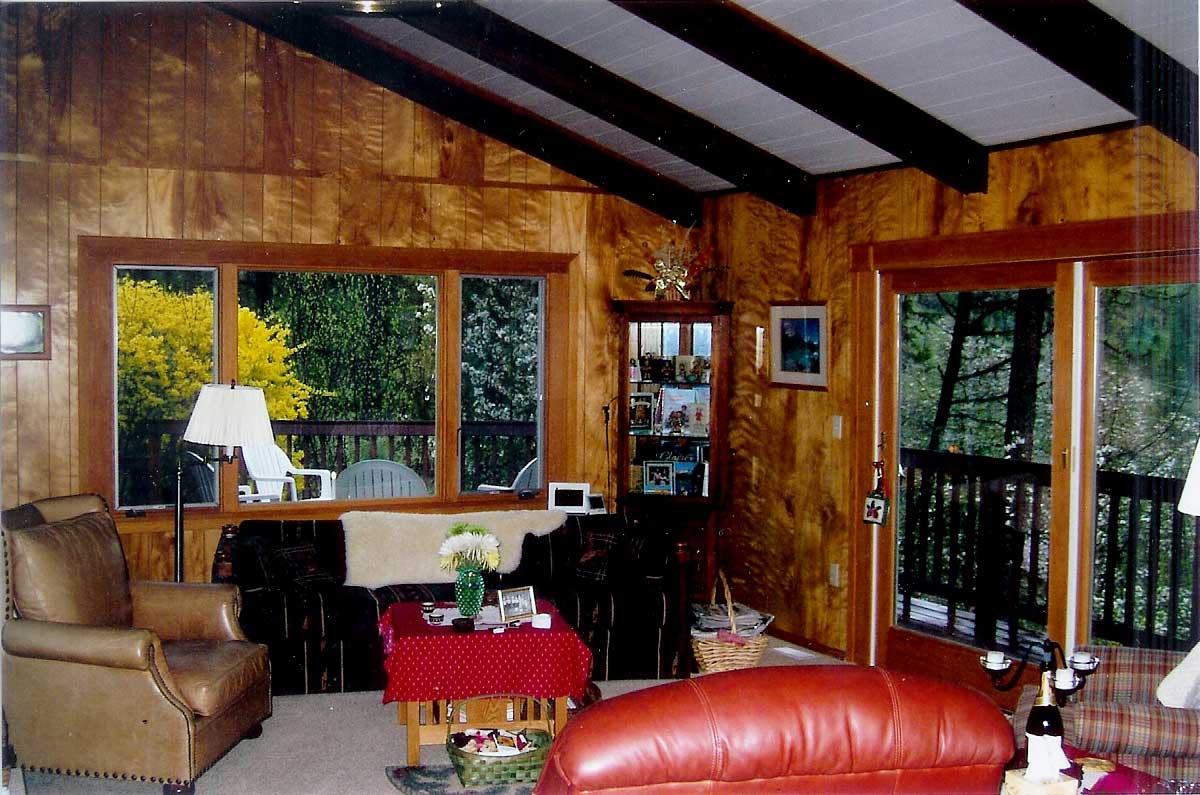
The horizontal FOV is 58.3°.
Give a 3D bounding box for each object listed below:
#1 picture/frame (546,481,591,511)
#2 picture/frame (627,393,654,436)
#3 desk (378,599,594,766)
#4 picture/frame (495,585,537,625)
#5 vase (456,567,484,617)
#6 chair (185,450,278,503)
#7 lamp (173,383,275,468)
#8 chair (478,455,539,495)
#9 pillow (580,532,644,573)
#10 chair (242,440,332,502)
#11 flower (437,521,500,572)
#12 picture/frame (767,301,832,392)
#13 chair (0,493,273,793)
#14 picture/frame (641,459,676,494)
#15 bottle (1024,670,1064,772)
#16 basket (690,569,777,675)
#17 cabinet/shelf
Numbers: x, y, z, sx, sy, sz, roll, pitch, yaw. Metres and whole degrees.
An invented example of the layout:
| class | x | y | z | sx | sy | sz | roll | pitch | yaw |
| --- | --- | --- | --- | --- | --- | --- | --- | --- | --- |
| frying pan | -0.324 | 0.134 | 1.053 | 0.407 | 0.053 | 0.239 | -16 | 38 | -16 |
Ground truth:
| class | x | y | z | sx | sy | sz | roll | pitch | yaw |
| --- | --- | --- | --- | --- | --- | --- | --- | --- | --- |
| picture/frame | -0.211 | 0.675 | 7.437 | 0.309 | 0.168 | 0.219 | 3 | -8 | 1 |
| picture/frame | 0.303 | 0.111 | 7.807 | 0.190 | 0.275 | 0.085 | 1 | -3 | 1 |
| desk | -0.738 | 1.616 | 6.011 | 1.376 | 0.641 | 1.464 | -2 | -18 | 33 |
| picture/frame | -0.457 | 1.142 | 5.923 | 0.183 | 0.161 | 0.018 | 0 | -15 | -32 |
| vase | -0.715 | 1.050 | 5.915 | 0.173 | 0.287 | 0.180 | 0 | -15 | -14 |
| chair | -2.429 | 0.501 | 7.183 | 0.451 | 0.600 | 0.394 | 0 | 3 | -5 |
| lamp | -2.207 | 0.168 | 6.450 | 0.539 | 0.474 | 0.553 | 3 | 0 | 40 |
| chair | -0.640 | 0.603 | 7.889 | 0.291 | 0.269 | 0.317 | 9 | -12 | -31 |
| pillow | 0.071 | 0.971 | 6.983 | 0.304 | 0.233 | 0.084 | 3 | -37 | 7 |
| chair | -2.192 | 0.486 | 7.482 | 0.477 | 0.636 | 0.424 | -1 | 0 | 28 |
| flower | -0.714 | 0.821 | 5.988 | 0.268 | 0.273 | 0.273 | 1 | -7 | 2 |
| picture/frame | 1.376 | -0.361 | 7.310 | 0.049 | 0.634 | 0.621 | -2 | 2 | -33 |
| chair | -2.448 | 1.249 | 5.645 | 1.167 | 1.385 | 0.846 | 1 | 0 | 13 |
| picture/frame | 0.457 | 0.564 | 7.825 | 0.282 | 0.287 | 0.215 | 0 | -3 | 8 |
| bottle | 1.665 | 1.205 | 3.995 | 0.137 | 0.387 | 0.305 | 1 | 0 | 23 |
| basket | 0.799 | 1.387 | 6.896 | 0.546 | 0.697 | 0.713 | 1 | 2 | 0 |
| cabinet/shelf | 0.534 | 0.447 | 8.051 | 0.905 | 2.590 | 0.585 | -1 | 24 | 1 |
